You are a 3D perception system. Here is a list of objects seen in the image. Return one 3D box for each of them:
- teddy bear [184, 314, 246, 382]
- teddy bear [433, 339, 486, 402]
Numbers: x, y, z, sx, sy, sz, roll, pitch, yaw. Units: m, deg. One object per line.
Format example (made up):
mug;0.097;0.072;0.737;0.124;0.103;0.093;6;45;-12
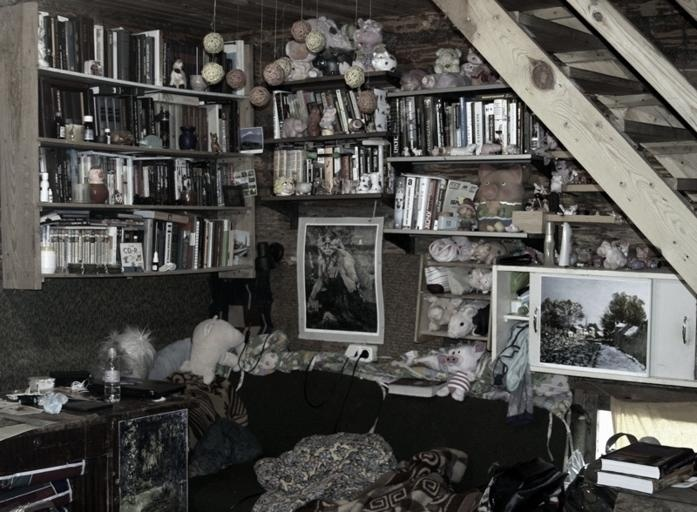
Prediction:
teddy bear;-1.096;0.737;4.925;0.403;0.463;0.508;4;1;-42
teddy bear;0.778;0.789;4.320;0.357;0.499;0.205;4;-31;13
